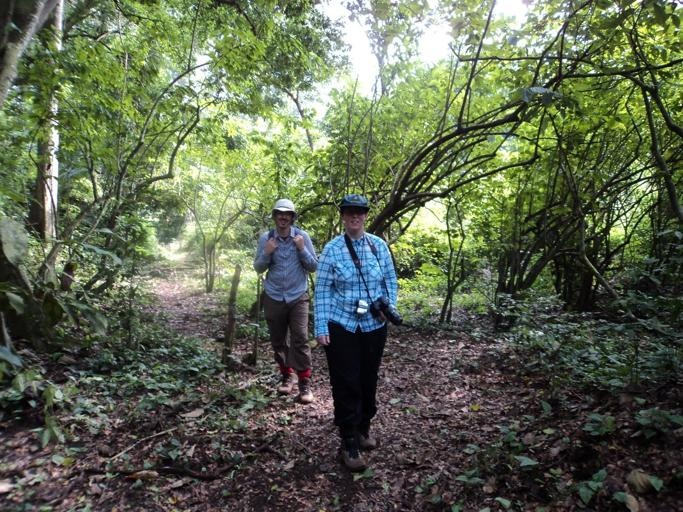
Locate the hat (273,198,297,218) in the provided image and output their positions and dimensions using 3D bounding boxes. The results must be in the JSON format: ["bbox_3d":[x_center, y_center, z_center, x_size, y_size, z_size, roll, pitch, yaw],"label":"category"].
[{"bbox_3d":[-0.662,-0.610,5.559,0.242,0.134,0.278,5,-13,2],"label":"hat"}]

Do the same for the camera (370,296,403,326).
[{"bbox_3d":[0.407,0.582,4.478,0.291,0.163,0.272,40,30,3],"label":"camera"}]

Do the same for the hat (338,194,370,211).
[{"bbox_3d":[0.134,-0.526,4.489,0.268,0.158,0.223,5,1,-7],"label":"hat"}]

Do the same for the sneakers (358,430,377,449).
[{"bbox_3d":[0.281,1.876,4.709,0.129,0.129,0.205,-5,-16,-42],"label":"sneakers"}]
